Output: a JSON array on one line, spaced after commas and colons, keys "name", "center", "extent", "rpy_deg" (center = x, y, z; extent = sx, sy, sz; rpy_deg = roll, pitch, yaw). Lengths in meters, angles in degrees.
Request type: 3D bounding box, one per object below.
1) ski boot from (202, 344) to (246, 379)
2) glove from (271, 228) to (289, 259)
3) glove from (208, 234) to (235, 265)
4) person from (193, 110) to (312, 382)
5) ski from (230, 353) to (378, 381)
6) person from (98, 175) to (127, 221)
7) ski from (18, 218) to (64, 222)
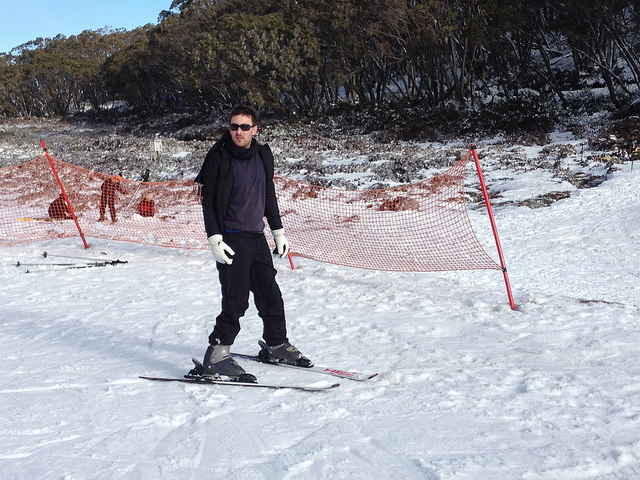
[{"name": "ski boot", "center": [-1.061, 1.290, 6.452], "extent": [0.511, 0.344, 0.184], "rpy_deg": [6, -13, 11]}, {"name": "glove", "center": [-0.488, 0.024, 6.753], "extent": [0.127, 0.310, 0.238], "rpy_deg": [1, 6, 35]}, {"name": "glove", "center": [-1.040, 0.077, 6.265], "extent": [0.216, 0.327, 0.147], "rpy_deg": [-30, 0, 20]}, {"name": "person", "center": [-0.868, 0.081, 6.391], "extent": [1.121, 2.856, 0.475], "rpy_deg": [-10, 7, -14]}, {"name": "ski", "center": [-0.183, 1.403, 6.552], "extent": [1.557, 0.081, 0.175], "rpy_deg": [4, 7, 28]}, {"name": "person", "center": [-4.826, -0.929, 13.519], "extent": [0.688, 0.717, 2.578], "rpy_deg": [-11, 7, -20]}, {"name": "ski", "center": [-6.600, -0.484, 13.941], "extent": [0.681, 0.106, 0.031], "rpy_deg": [1, 0, -2]}]
